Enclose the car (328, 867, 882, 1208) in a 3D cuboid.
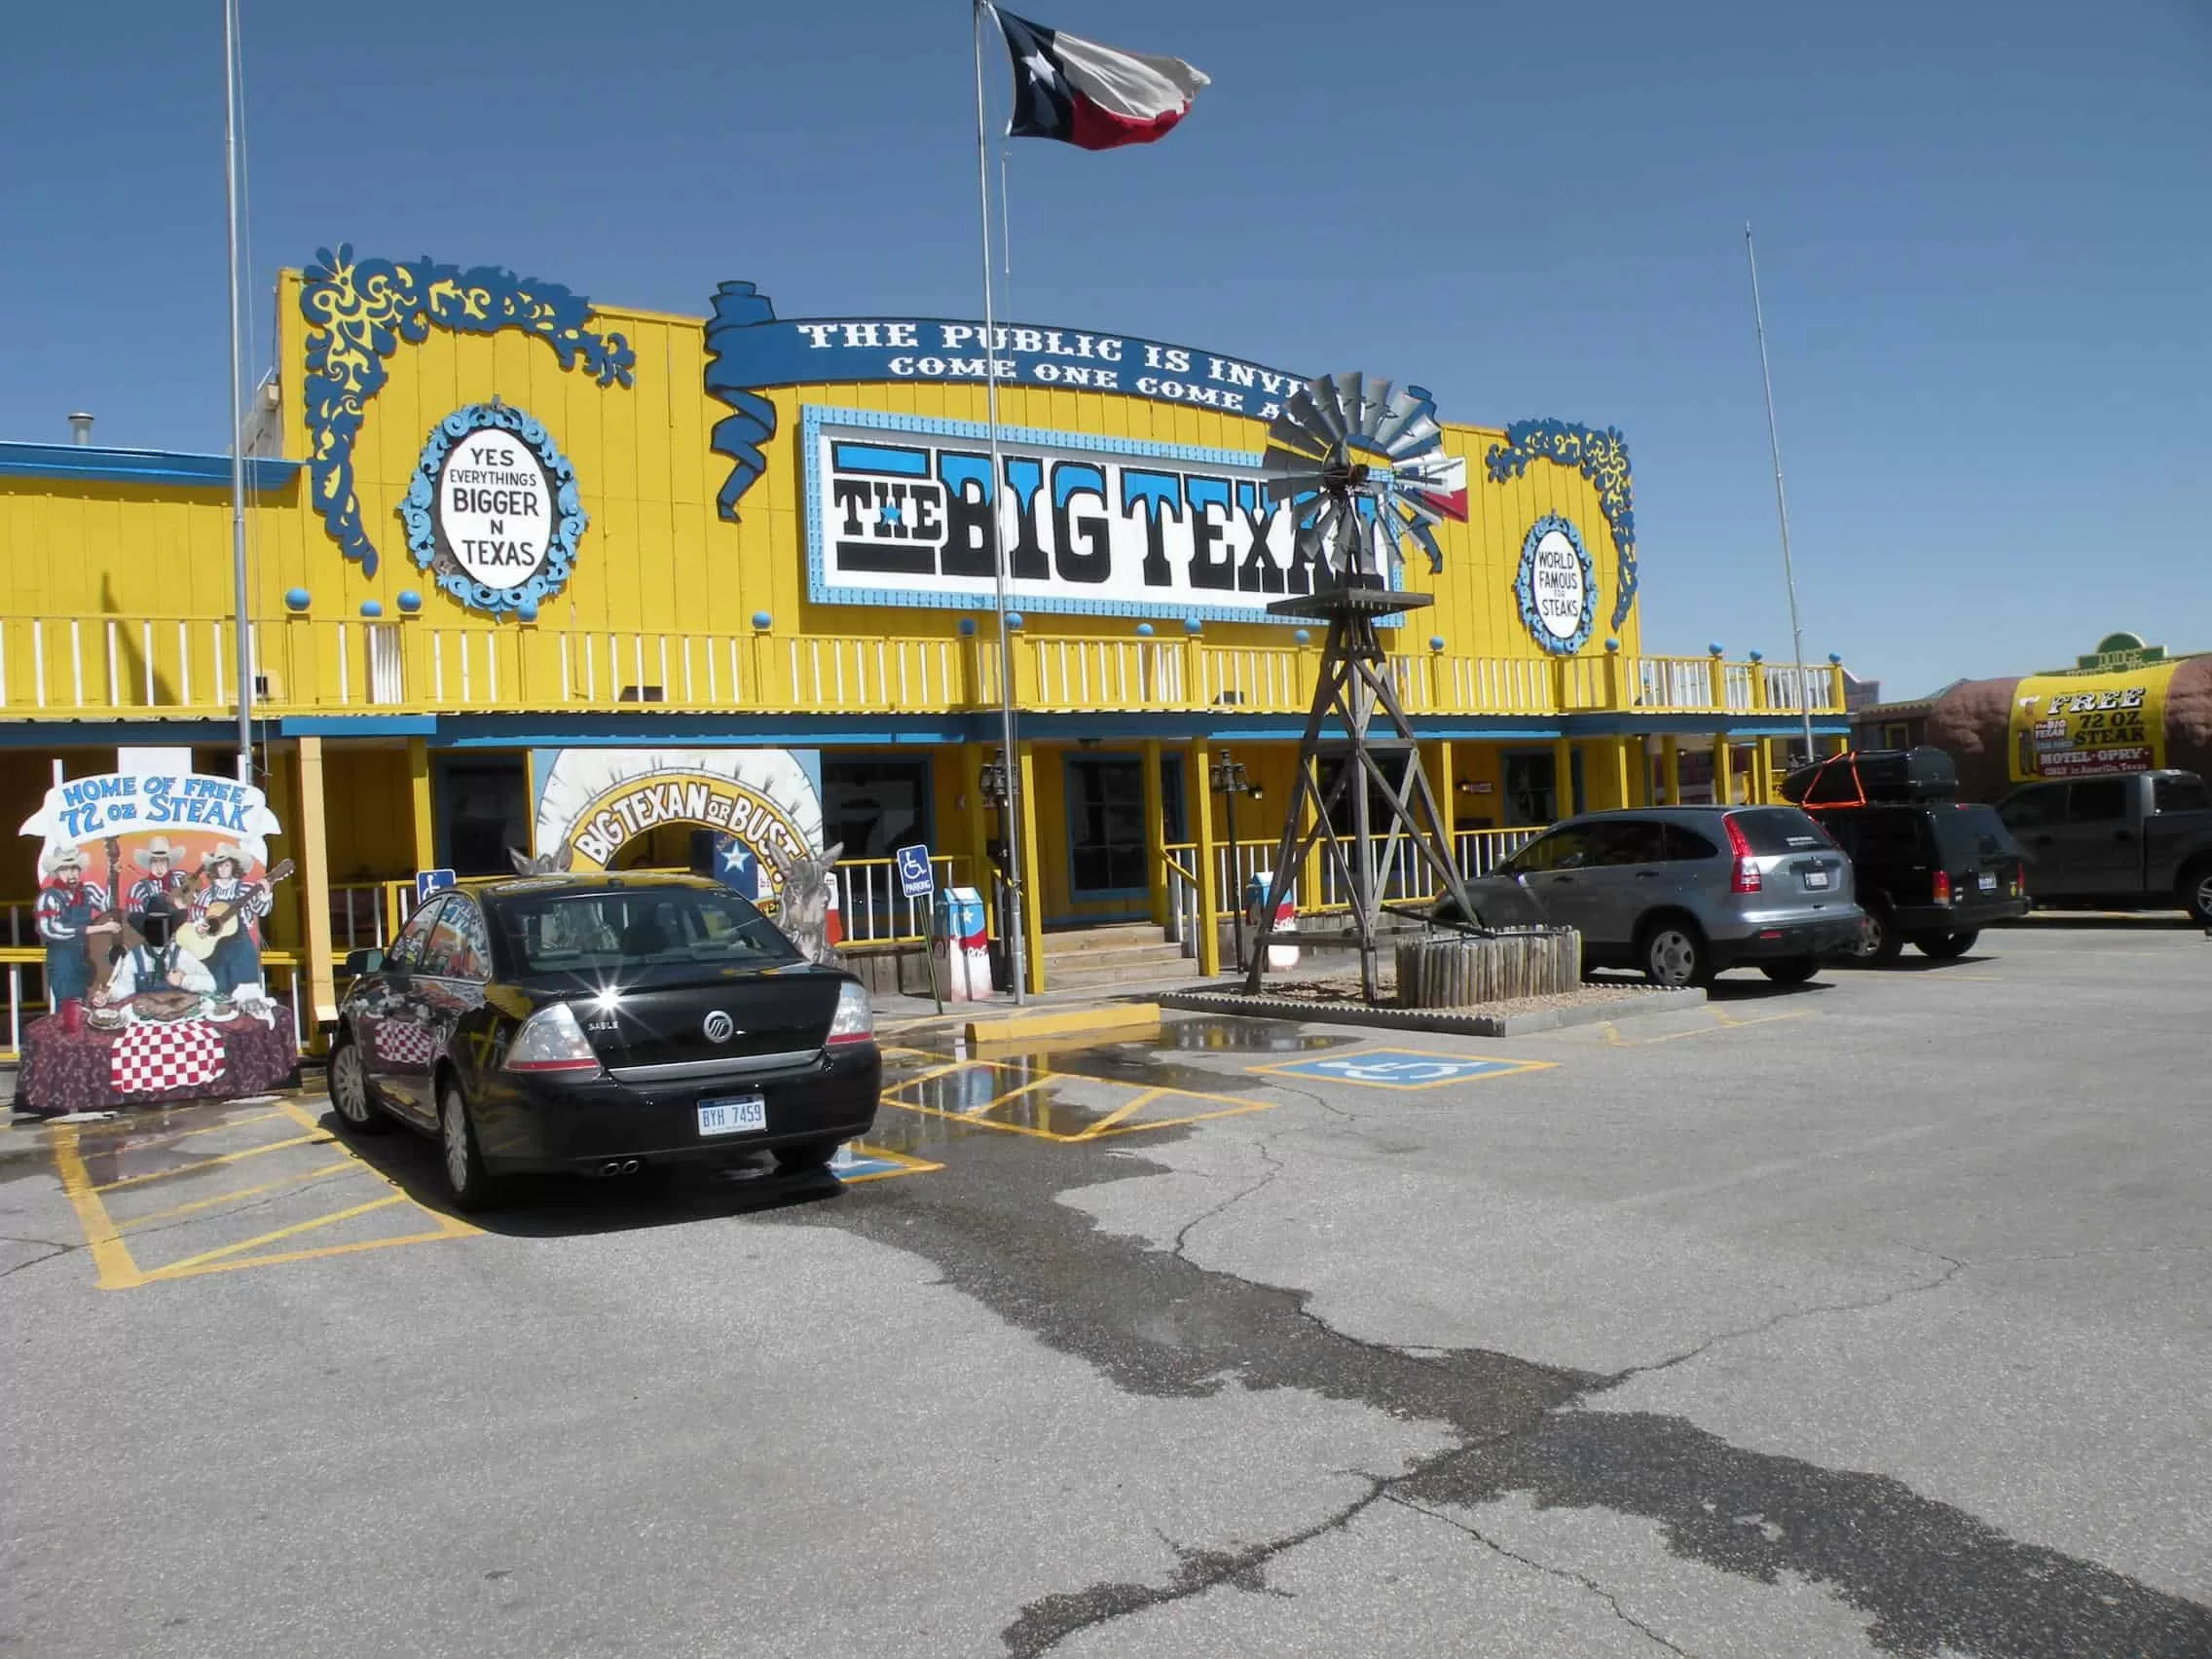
[{"bbox_3d":[-3.089,1.070,9.763,1.584,0.973,3.112,1,2,-29],"label":"car"}]
